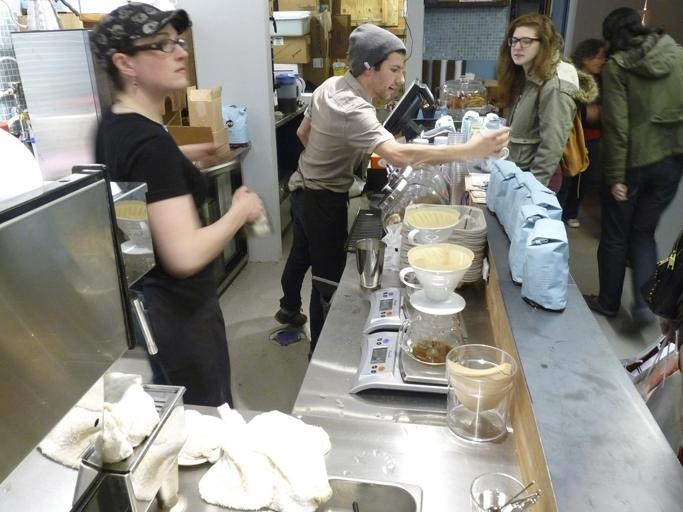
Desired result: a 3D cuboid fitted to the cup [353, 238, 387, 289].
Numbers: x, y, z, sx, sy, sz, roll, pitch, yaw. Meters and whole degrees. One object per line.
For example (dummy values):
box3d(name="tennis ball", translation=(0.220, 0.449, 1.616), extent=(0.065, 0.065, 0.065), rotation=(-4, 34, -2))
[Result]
box3d(name="cup", translation=(0.091, 0.020, 1.915), extent=(0.167, 0.241, 0.165), rotation=(-1, 21, 0))

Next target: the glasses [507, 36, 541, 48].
box3d(name="glasses", translation=(1.242, -1.416, 3.212), extent=(0.143, 0.045, 0.144), rotation=(-7, 12, -35))

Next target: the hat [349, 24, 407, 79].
box3d(name="hat", translation=(0.181, -1.069, 2.490), extent=(0.267, 0.233, 0.088), rotation=(2, 26, 7))

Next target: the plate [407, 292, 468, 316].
box3d(name="plate", translation=(0.266, 0.126, 1.324), extent=(0.143, 0.016, 0.118), rotation=(2, 27, 8))

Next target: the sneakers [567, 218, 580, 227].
box3d(name="sneakers", translation=(2.522, -0.366, 5.186), extent=(0.069, 0.058, 0.145), rotation=(-1, 14, 6))

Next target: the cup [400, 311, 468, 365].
box3d(name="cup", translation=(0.256, 0.232, 1.354), extent=(0.172, 0.121, 0.134), rotation=(-1, 20, 0))

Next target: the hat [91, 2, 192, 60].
box3d(name="hat", translation=(-0.586, -0.664, 1.409), extent=(0.288, 0.149, 0.128), rotation=(-12, 28, -20))

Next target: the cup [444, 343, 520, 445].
box3d(name="cup", translation=(0.344, 0.346, 1.202), extent=(0.169, 0.202, 0.140), rotation=(10, 28, 22))

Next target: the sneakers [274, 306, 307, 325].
box3d(name="sneakers", translation=(-0.366, 0.445, 3.428), extent=(0.213, 0.104, 0.111), rotation=(-2, 38, -16))

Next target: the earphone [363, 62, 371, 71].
box3d(name="earphone", translation=(0.134, -0.994, 2.491), extent=(0.019, 0.037, 0.009), rotation=(-1, 48, 9))
